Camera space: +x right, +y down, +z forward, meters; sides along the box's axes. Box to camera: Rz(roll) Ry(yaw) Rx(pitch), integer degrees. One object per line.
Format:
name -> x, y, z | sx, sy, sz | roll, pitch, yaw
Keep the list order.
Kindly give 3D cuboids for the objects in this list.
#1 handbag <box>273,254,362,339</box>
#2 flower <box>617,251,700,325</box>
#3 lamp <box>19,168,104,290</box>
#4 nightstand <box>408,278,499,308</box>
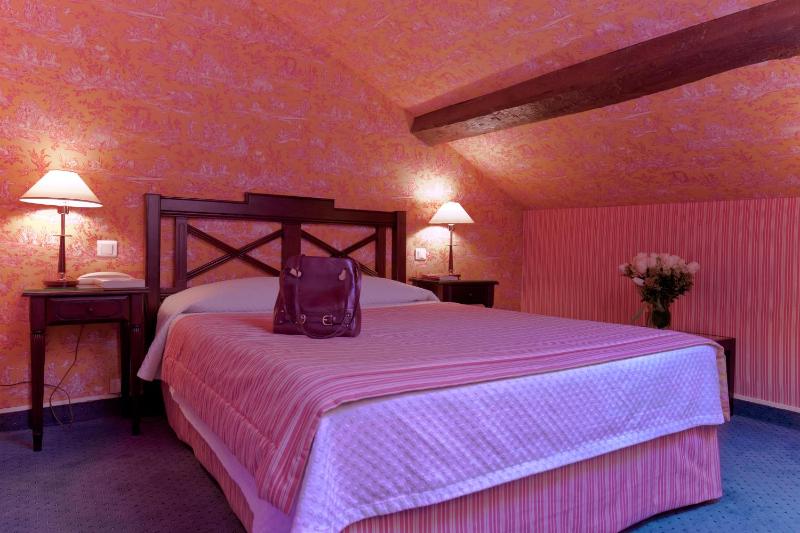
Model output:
handbag -> -0.360, 0.193, 3.235 | 0.700, 0.551, 0.440 | 3, 1, 0
flower -> 2.045, 0.196, 4.429 | 0.675, 0.622, 0.663 | 0, -2, 27
lamp -> -2.272, -0.273, 3.730 | 0.477, 0.763, 0.438 | -8, 17, -32
nightstand -> 0.595, 0.229, 5.013 | 0.419, 0.260, 0.440 | 0, 1, -29
